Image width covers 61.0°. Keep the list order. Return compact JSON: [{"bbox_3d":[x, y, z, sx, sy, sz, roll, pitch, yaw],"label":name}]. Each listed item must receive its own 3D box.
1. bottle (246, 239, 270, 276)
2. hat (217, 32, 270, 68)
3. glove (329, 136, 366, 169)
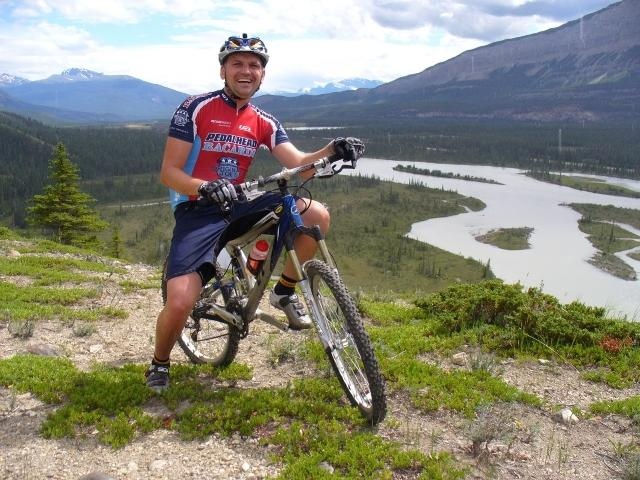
[{"bbox_3d":[-0.961,0.259,8.471,0.320,0.566,0.320,22,18,-7],"label":"bottle"},{"bbox_3d":[-1.208,-3.017,8.823,0.670,0.338,0.828,-2,-1,11],"label":"hat"},{"bbox_3d":[0.454,-1.319,8.426,0.513,0.481,0.395,-19,-27,2],"label":"glove"}]
